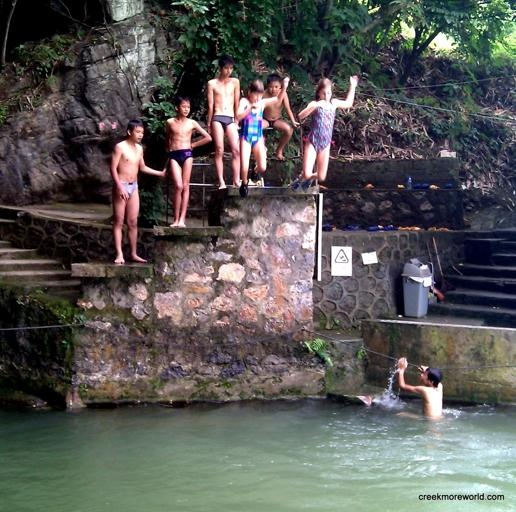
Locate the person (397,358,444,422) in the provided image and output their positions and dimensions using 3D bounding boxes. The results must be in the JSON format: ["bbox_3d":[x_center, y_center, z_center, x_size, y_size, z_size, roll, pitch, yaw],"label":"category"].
[{"bbox_3d":[1.953,1.640,9.081,0.553,0.760,0.489,-4,11,-33],"label":"person"}]

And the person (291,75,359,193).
[{"bbox_3d":[0.736,-1.363,8.499,0.581,1.221,0.667,2,12,2],"label":"person"}]

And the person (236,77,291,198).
[{"bbox_3d":[0.017,-1.337,8.740,0.523,1.352,0.439,1,12,-1],"label":"person"}]

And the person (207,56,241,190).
[{"bbox_3d":[-0.406,-1.551,8.906,0.393,1.557,0.319,1,12,-4],"label":"person"}]

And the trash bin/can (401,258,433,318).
[{"bbox_3d":[2.251,0.487,10.790,0.400,0.780,0.435,4,13,12],"label":"trash bin/can"}]

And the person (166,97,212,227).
[{"bbox_3d":[-0.856,-1.115,8.989,0.506,1.511,0.478,-4,13,-22],"label":"person"}]

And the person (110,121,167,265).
[{"bbox_3d":[-1.517,-0.734,8.994,0.544,1.741,0.485,-5,14,-29],"label":"person"}]
